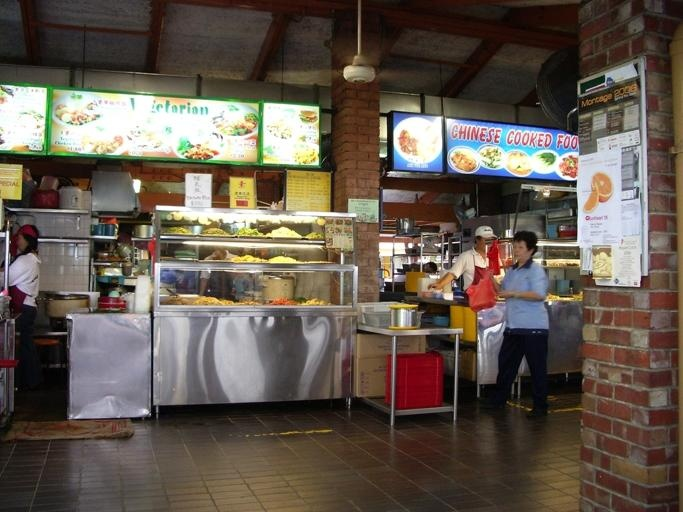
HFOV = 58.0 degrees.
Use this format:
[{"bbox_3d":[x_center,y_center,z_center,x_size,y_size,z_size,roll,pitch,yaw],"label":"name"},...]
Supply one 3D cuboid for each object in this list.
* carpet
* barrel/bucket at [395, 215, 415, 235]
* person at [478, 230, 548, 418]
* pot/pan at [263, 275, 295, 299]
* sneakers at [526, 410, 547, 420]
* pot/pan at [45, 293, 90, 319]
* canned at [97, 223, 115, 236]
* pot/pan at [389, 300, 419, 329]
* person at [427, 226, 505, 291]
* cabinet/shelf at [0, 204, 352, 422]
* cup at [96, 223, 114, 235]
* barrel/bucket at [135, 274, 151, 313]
[{"bbox_3d":[-2.483,1.592,5.723,1.124,0.048,0.655,1,3,-11],"label":"carpet"},{"bbox_3d":[1.499,-0.675,14.284,0.340,0.342,0.514,1,-1,-24],"label":"barrel/bucket"},{"bbox_3d":[1.893,0.693,6.562,0.612,1.911,0.396,3,3,32],"label":"person"},{"bbox_3d":[-0.666,0.340,6.593,0.301,0.232,0.269,2,-5,-28],"label":"pot/pan"},{"bbox_3d":[2.017,1.643,6.389,0.227,0.099,0.078,0,-4,7],"label":"sneakers"},{"bbox_3d":[-3.506,0.608,7.844,0.680,0.290,0.529,1,-3,-20],"label":"pot/pan"},{"bbox_3d":[-3.326,-0.375,8.703,0.187,0.103,0.178,0,-2,5],"label":"canned"},{"bbox_3d":[0.651,0.621,6.334,0.262,0.197,0.253,2,-6,-34],"label":"pot/pan"},{"bbox_3d":[1.907,0.028,9.557,1.301,1.172,0.351,4,15,-38],"label":"person"},{"bbox_3d":[-1.736,0.669,6.677,2.583,1.720,0.959,1,-4,-14],"label":"cabinet/shelf"},{"bbox_3d":[-3.327,-0.381,8.688,0.183,0.100,0.174,0,-1,0],"label":"cup"},{"bbox_3d":[-2.024,0.390,6.300,0.157,0.358,0.103,0,3,-24],"label":"barrel/bucket"}]
